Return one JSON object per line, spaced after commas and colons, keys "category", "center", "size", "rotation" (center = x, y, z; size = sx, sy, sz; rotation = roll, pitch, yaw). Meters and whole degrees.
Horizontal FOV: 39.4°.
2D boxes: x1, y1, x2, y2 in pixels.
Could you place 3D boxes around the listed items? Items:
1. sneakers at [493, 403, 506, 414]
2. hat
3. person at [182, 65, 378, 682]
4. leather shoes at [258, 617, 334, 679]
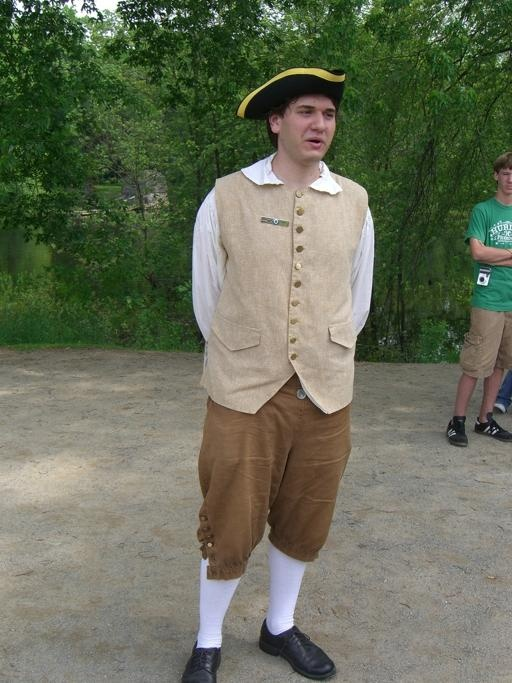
{"category": "sneakers", "center": [1.881, 0.521, 5.496], "size": [0.047, 0.044, 0.118], "rotation": [13, -21, 42]}
{"category": "hat", "center": [0.081, -0.714, 2.072], "size": [0.343, 0.125, 0.156], "rotation": [7, 13, 33]}
{"category": "person", "center": [0.075, 0.145, 2.164], "size": [0.602, 1.845, 0.388], "rotation": [0, 12, -7]}
{"category": "leather shoes", "center": [0.142, 0.995, 2.345], "size": [0.246, 0.096, 0.107], "rotation": [10, 13, 37]}
